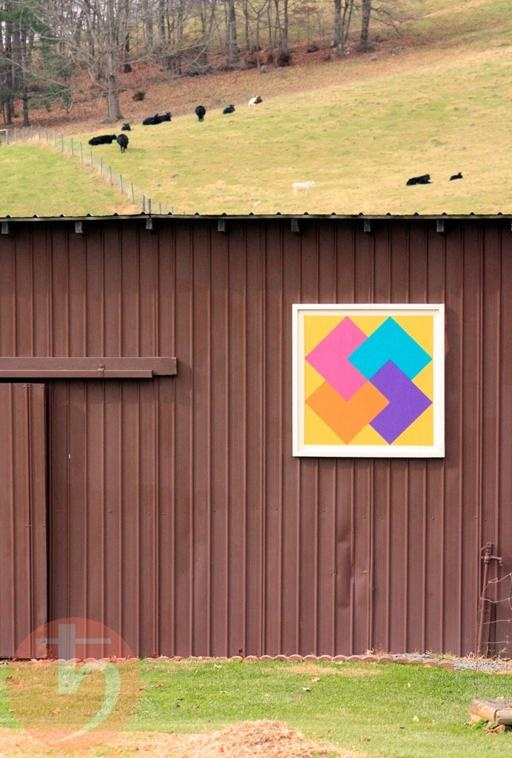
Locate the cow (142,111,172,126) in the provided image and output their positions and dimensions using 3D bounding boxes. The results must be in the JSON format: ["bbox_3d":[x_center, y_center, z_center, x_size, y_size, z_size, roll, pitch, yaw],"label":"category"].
[{"bbox_3d":[-5.837,-15.201,116.939,1.382,0.679,2.813,0,8,17],"label":"cow"}]

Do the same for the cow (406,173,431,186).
[{"bbox_3d":[7.984,-9.664,97.647,1.203,0.493,0.919,-2,8,6],"label":"cow"}]

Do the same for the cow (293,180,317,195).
[{"bbox_3d":[2.370,-9.450,98.638,1.060,0.557,1.994,-2,8,3],"label":"cow"}]

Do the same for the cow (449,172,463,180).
[{"bbox_3d":[9.791,-9.861,97.669,0.667,0.336,1.533,-1,8,7],"label":"cow"}]
